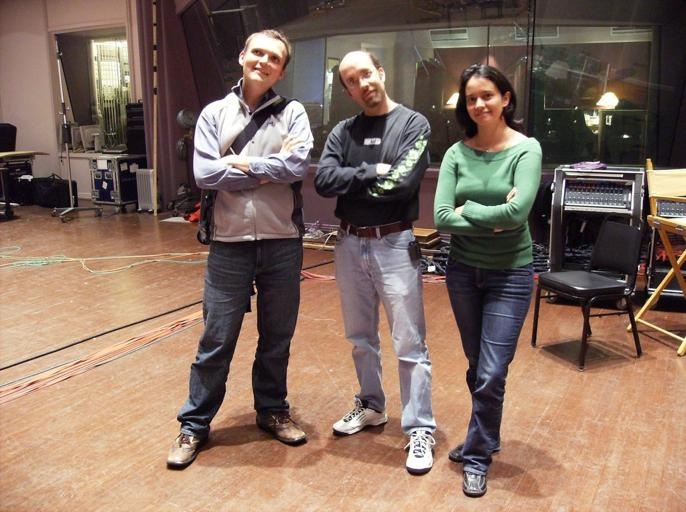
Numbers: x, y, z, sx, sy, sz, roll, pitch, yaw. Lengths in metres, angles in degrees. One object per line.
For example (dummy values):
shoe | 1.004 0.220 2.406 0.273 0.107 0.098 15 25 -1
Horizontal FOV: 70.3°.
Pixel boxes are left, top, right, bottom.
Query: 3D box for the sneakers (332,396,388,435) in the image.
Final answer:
sneakers | 0.085 0.905 2.738 0.366 0.170 0.126 -8 25 -15

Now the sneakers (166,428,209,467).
sneakers | -0.779 0.966 2.459 0.095 0.094 0.251 6 2 6

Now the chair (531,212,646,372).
chair | 1.862 0.247 3.719 0.652 0.952 0.663 -11 14 -25

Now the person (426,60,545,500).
person | 0.663 0.100 2.220 0.449 1.887 0.552 -2 14 -5

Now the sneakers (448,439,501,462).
sneakers | 0.668 0.986 2.467 0.292 0.122 0.096 2 9 -11

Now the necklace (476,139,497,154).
necklace | 0.654 -0.495 2.219 0.056 0.054 0.017 18 27 41

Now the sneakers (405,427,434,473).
sneakers | 0.372 0.938 2.338 0.100 0.102 0.233 -1 5 7

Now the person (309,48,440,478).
person | 0.209 0.021 2.416 0.710 1.966 0.408 10 18 39

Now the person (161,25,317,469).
person | -0.515 -0.057 2.445 0.791 2.105 0.458 -6 15 -18

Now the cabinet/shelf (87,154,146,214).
cabinet/shelf | -4.355 -1.402 9.524 1.045 0.998 0.996 -6 12 -33

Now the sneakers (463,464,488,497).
sneakers | 0.599 1.024 2.213 0.075 0.056 0.139 0 4 7

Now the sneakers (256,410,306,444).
sneakers | -0.342 0.904 2.619 0.277 0.112 0.122 8 15 39
